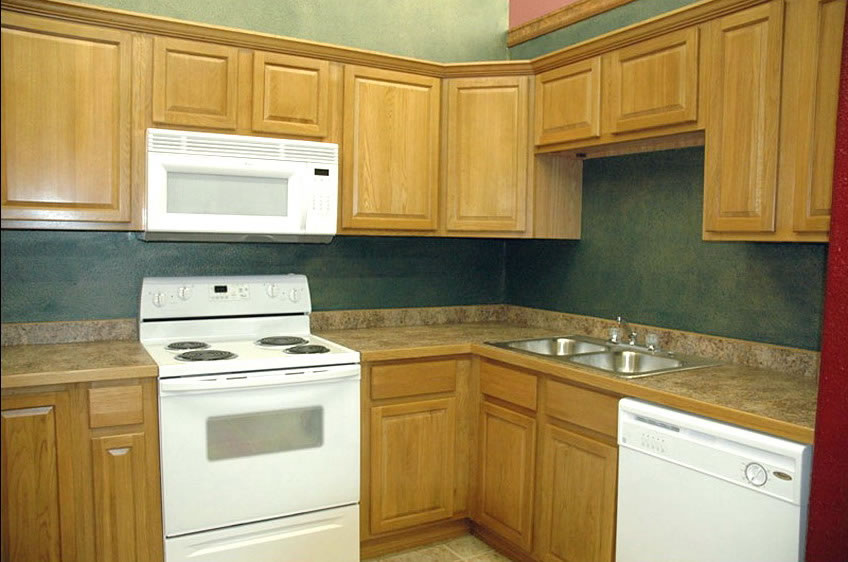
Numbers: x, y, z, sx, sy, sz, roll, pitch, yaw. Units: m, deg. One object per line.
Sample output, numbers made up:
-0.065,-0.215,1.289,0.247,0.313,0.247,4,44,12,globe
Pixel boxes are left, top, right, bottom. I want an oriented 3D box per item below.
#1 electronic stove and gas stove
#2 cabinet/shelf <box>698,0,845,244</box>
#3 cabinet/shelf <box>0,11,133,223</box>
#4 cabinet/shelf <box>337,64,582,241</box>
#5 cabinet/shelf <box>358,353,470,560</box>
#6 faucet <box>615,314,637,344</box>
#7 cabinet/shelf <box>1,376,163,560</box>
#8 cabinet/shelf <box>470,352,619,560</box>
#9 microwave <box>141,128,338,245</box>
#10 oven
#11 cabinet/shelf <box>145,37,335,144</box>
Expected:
-0.967,0.195,3.171,0.953,0.392,0.727,-6,14,-23,electronic stove and gas stove
1.404,-0.657,2.561,0.223,0.981,0.693,-8,16,-24,cabinet/shelf
-1.692,-0.756,2.905,0.642,0.966,0.181,-6,17,-19,cabinet/shelf
0.128,-0.750,3.654,1.735,0.984,0.543,-12,20,-39,cabinet/shelf
-0.039,0.867,3.293,0.679,0.926,0.292,-4,16,-12,cabinet/shelf
1.146,0.276,3.424,0.039,0.163,0.116,6,-35,-35,faucet
-1.479,0.860,2.678,0.638,0.852,0.206,-6,16,-20,cabinet/shelf
0.574,0.914,3.051,0.290,0.941,0.977,-9,16,-27,cabinet/shelf
-1.100,-0.499,3.405,1.059,0.542,0.609,-4,9,-40,microwave
-0.876,0.897,3.378,1.183,1.306,0.969,1,-4,-26,oven
-0.953,-1.012,3.217,0.979,0.375,0.102,-6,18,-38,cabinet/shelf
